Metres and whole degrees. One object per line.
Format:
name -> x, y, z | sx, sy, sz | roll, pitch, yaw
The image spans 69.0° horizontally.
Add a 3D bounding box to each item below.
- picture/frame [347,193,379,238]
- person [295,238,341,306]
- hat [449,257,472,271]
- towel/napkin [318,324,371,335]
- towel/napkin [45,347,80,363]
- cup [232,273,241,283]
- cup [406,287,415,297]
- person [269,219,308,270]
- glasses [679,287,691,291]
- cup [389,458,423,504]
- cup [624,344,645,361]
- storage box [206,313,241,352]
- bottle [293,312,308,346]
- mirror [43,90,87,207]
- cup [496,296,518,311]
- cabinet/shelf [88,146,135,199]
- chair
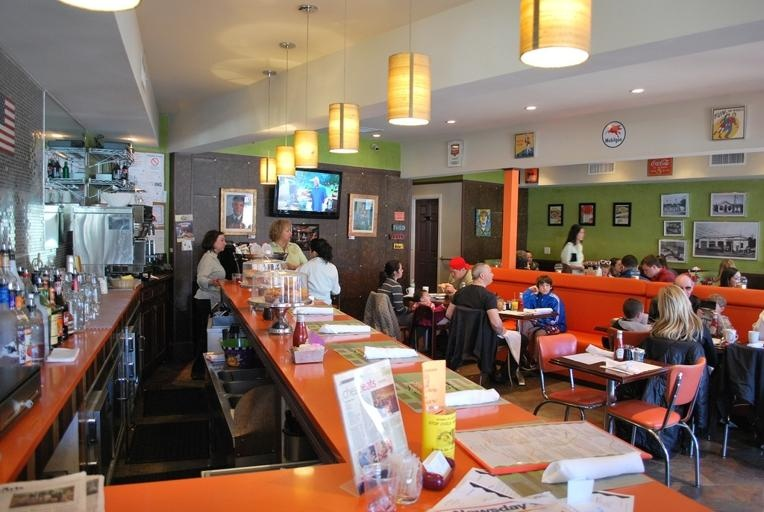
picture/frame -> -0.399, -0.772, 10.543 | 0.075, 0.912, 0.913 | 2, 0, 42
person -> -0.755, 0.198, 6.800 | 0.522, 0.804, 0.355 | -1, 5, -20
hat -> 1.188, 0.137, 8.563 | 0.348, 0.202, 0.241 | -3, 11, -37
towel/napkin -> -0.279, 0.558, 4.223 | 0.394, 0.051, 0.154 | 0, 4, -10
towel/napkin -> -2.083, 0.647, 3.623 | 0.173, 0.065, 0.247 | -1, 4, -28
cup -> -1.872, 0.280, 7.043 | 0.138, 0.124, 0.100 | 1, -8, -3
cup -> 0.438, 0.560, 8.521 | 0.099, 0.139, 0.155 | 1, -1, -32
person -> -1.356, -0.114, 7.985 | 0.695, 0.760, 0.589 | 8, 10, 5
glasses -> 3.283, 0.356, 6.036 | 0.093, 0.024, 0.091 | -1, -5, 20
cup -> 0.118, 0.945, 2.401 | 0.168, 0.154, 0.163 | 0, 7, 0
cup -> 2.238, 0.866, 4.953 | 0.165, 0.153, 0.129 | -1, 0, 16
storage box -> -1.655, 0.751, 5.687 | 0.373, 0.434, 0.637 | 1, 1, -10
bottle -> -0.544, 0.498, 3.724 | 0.105, 0.196, 0.324 | 0, 4, -8
mirror -> -3.424, -1.179, 5.969 | 0.391, 1.016, 1.126 | 0, -1, -16
cup -> 1.675, 0.642, 7.314 | 0.264, 0.090, 0.198 | -1, 2, -35
cabinet/shelf -> -3.511, -1.080, 7.167 | 0.520, 0.693, 0.882 | -1, 5, -26
chair -> 2.270, 1.056, 5.982 | 2.494, 1.632, 2.892 | -2, 5, -31
